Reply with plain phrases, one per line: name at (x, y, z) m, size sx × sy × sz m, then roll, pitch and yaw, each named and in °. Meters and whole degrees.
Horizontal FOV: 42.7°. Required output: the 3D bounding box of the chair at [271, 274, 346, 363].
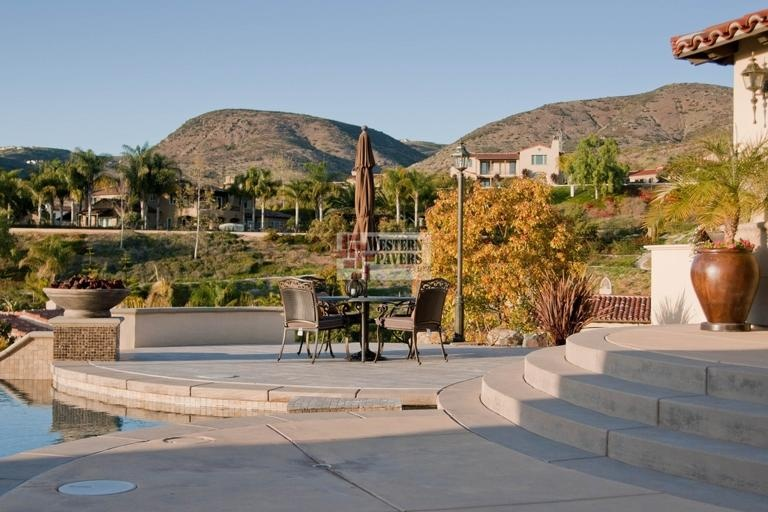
chair at (-3.615, 2.993, 46.613) m, size 2.908 × 3.965 × 2.804 m, roll 0°, pitch 0°, yaw -6°

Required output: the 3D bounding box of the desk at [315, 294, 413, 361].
desk at (-0.949, 3.405, 46.343) m, size 4.023 × 2.822 × 4.162 m, roll 1°, pitch 2°, yaw 7°
